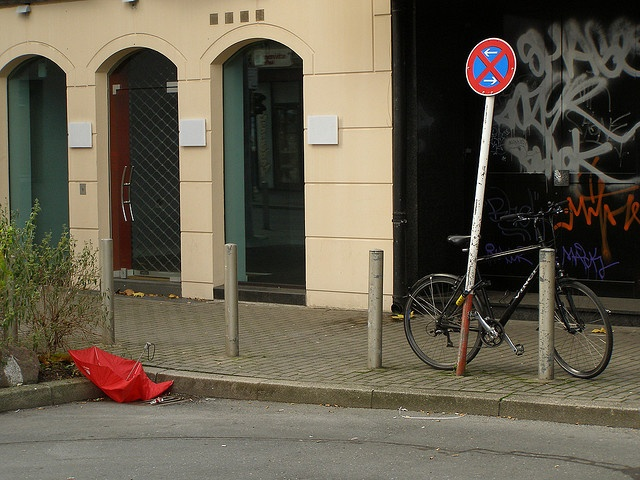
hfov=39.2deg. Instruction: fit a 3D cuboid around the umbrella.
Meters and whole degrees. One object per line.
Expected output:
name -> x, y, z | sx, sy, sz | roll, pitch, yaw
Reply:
umbrella -> -2.024, 1.345, 9.034 | 0.987, 0.437, 0.476 | 3, 10, 20
